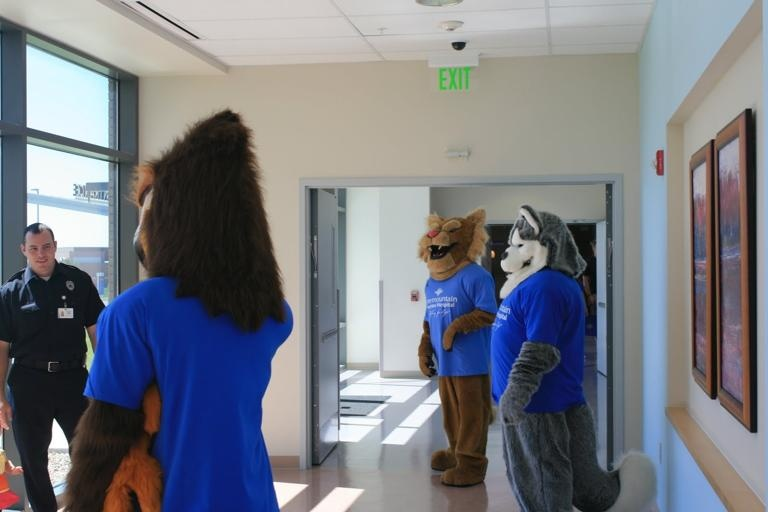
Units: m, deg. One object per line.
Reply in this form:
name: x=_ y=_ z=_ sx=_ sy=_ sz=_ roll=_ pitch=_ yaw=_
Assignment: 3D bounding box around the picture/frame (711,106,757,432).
picture/frame: x=1.668 y=0.053 z=2.898 sx=0.141 sy=1.462 sz=0.480 roll=1 pitch=1 yaw=22
